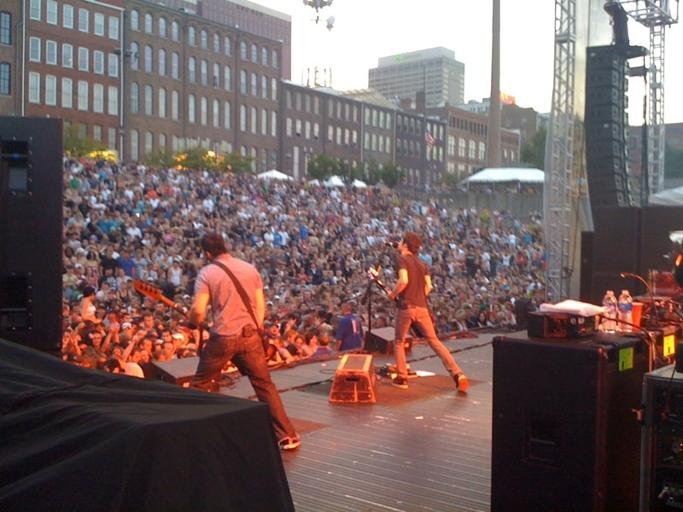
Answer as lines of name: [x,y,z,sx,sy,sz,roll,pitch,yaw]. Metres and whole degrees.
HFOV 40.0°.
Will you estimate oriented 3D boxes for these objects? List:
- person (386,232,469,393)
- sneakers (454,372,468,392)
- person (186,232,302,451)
person: [0.795,0.565,8.946,0.718,1.515,0.449,5,6,3]
sneakers: [1.153,1.239,8.959,0.090,0.235,0.100,-23,41,-15]
person: [-0.739,0.672,7.178,0.817,1.627,0.502,4,6,-7]
